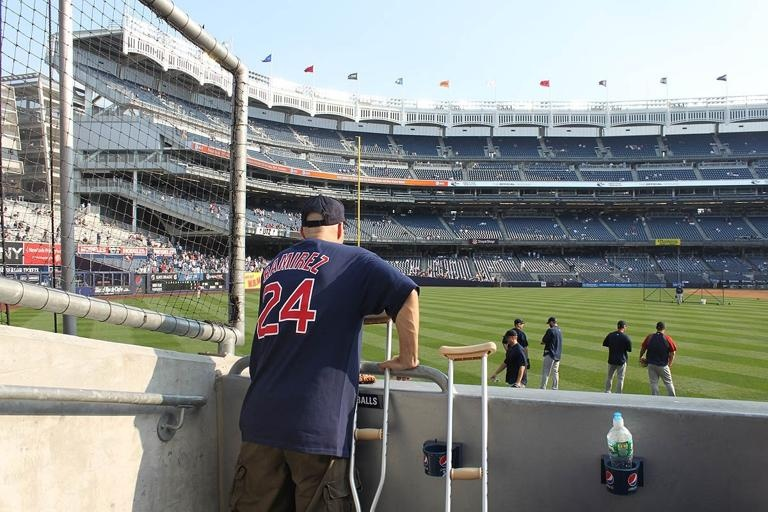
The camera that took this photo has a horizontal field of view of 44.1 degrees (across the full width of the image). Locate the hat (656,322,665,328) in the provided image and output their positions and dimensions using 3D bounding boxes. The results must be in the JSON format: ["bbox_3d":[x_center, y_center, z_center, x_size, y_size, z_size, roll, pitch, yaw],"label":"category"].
[{"bbox_3d":[13.823,3.413,46.893,0.335,0.271,0.489,3,14,31],"label":"hat"}]
